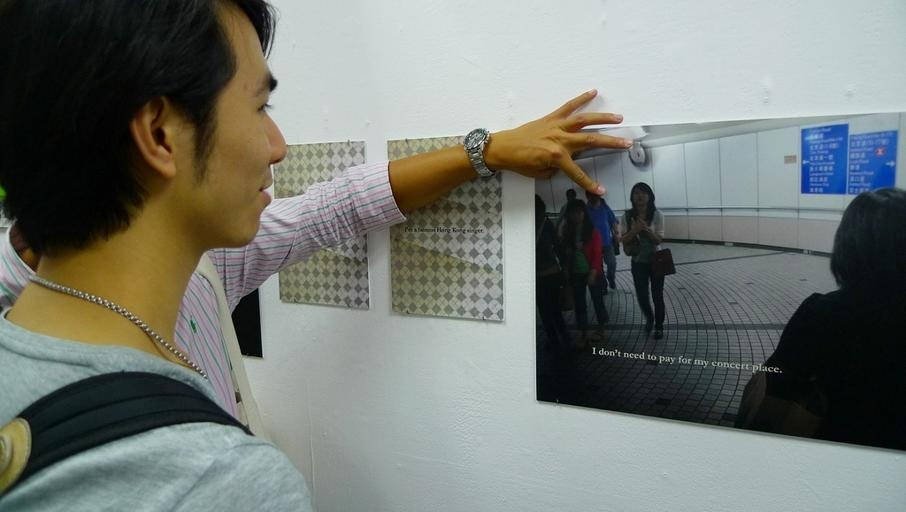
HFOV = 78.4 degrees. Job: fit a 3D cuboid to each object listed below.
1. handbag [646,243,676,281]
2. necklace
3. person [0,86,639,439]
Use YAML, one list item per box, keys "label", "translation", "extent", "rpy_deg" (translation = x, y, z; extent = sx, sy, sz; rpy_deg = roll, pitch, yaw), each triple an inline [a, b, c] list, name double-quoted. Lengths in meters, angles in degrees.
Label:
- label: "handbag"
  translation: [0.583, 0.015, 1.559]
  extent: [0.092, 0.122, 0.047]
  rpy_deg: [1, 16, 26]
- label: "necklace"
  translation: [-0.694, 0.147, 1.130]
  extent: [0.392, 0.061, 0.055]
  rpy_deg: [39, -33, -22]
- label: "person"
  translation: [-0.247, -0.093, 1.598]
  extent: [1.291, 0.307, 1.109]
  rpy_deg: [-14, 52, -23]
